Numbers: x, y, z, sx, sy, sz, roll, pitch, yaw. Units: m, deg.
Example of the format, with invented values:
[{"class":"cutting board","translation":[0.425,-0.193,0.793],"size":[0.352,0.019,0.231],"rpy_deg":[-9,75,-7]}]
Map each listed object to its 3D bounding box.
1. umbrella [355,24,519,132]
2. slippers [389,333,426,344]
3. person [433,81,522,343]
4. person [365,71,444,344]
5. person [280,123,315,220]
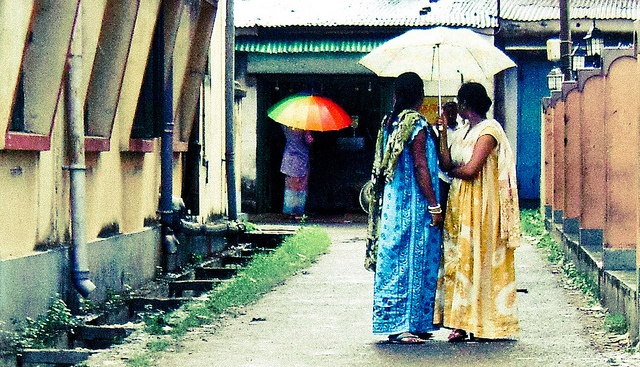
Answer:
[{"class":"umbrella","translation":[1.525,-1.545,17.665],"size":[1.491,0.957,1.530],"rpy_deg":[3,-1,21]},{"class":"slippers","translation":[1.148,2.016,17.037],"size":[0.448,0.123,0.176],"rpy_deg":[3,1,3]},{"class":"person","translation":[2.093,0.344,17.055],"size":[1.082,3.292,0.811],"rpy_deg":[2,11,4]},{"class":"person","translation":[1.113,0.323,17.012],"size":[1.002,3.529,0.813],"rpy_deg":[1,11,4]},{"class":"person","translation":[-0.496,-0.259,27.783],"size":[0.550,2.045,0.632],"rpy_deg":[-10,16,-43]}]
